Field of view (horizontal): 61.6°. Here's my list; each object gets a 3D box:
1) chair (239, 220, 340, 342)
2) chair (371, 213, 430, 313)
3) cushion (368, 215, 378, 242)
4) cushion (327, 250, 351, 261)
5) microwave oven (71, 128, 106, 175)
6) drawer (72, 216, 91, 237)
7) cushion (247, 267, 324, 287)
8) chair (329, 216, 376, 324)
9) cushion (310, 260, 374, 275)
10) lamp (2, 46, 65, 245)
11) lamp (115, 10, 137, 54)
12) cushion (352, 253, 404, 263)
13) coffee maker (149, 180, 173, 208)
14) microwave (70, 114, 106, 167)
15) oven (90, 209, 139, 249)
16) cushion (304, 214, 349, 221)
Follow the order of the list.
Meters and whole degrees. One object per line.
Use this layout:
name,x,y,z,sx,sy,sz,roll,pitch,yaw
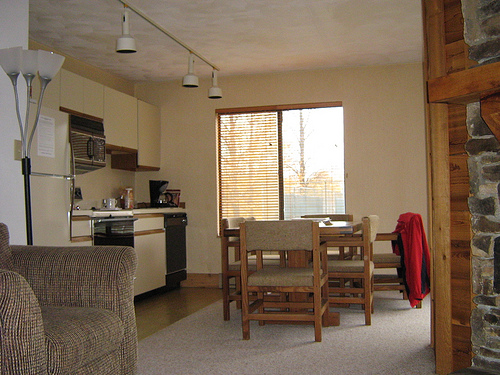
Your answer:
chair,0.371,0.817,4.006,0.844,1.050,1.022,-2,-1,4
chair,1.608,0.789,4.739,0.629,1.011,0.828,-3,-4,11
cushion,1.233,0.409,4.175,0.064,0.255,0.349,-1,-1,21
cushion,1.051,0.792,4.951,0.266,0.109,0.540,-2,-1,12
microwave oven,-1.712,-0.449,4.788,0.644,0.394,0.299,13,14,37
drawer,-1.717,0.393,4.287,0.149,0.248,0.285,-2,-5,13
cushion,0.312,0.775,3.686,0.629,0.152,0.363,-2,-1,13
chair,0.918,0.861,4.421,0.725,1.031,0.812,-3,-3,12
cushion,0.995,0.771,4.186,0.438,0.140,0.375,-2,-1,14
lamp,-1.712,-0.274,3.411,0.397,1.489,1.084,-1,0,-24
lamp,-1.117,-1.422,3.760,0.162,0.408,0.289,-1,0,-18
cushion,1.398,0.767,4.634,0.527,0.095,0.361,-2,-1,13
coffee maker,-1.288,0.097,6.085,0.316,0.414,0.252,-1,-7,-23
microwave,-1.784,-0.511,4.588,0.286,0.448,0.658,-1,-3,8
oven,-1.607,0.483,4.815,0.486,0.482,0.352,2,0,-41
cushion,0.945,0.375,5.186,0.546,0.077,0.171,-2,-1,8
